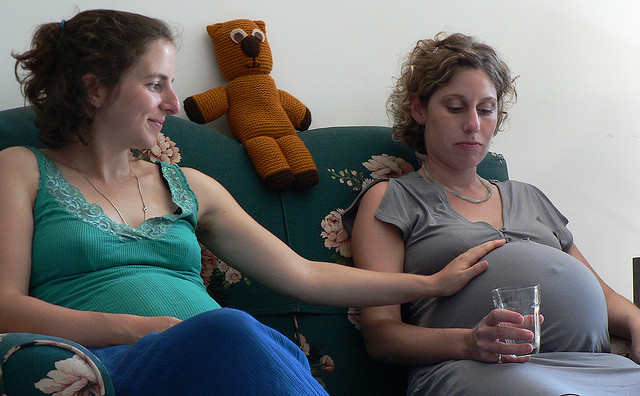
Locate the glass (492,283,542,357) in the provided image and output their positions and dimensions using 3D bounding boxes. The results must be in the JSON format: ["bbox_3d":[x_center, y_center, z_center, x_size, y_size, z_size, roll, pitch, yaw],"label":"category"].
[{"bbox_3d":[0.565,0.353,1.584,0.162,0.195,0.152,-4,-18,1],"label":"glass"}]

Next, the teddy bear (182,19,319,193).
[{"bbox_3d":[-0.217,-0.363,2.087,0.508,0.635,0.344,6,15,29],"label":"teddy bear"}]

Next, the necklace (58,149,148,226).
[{"bbox_3d":[-0.652,-0.037,1.639,0.218,0.213,0.194,-7,14,-24],"label":"necklace"}]
